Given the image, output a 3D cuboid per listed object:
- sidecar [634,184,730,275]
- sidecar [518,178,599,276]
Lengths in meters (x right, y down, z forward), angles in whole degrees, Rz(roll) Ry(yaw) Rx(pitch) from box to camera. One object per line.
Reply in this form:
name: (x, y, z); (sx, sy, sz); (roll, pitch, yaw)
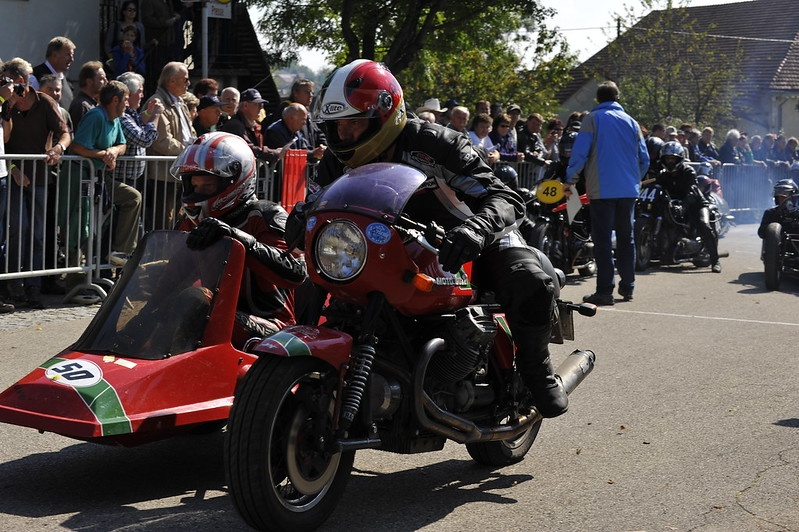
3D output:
sidecar: (4.858, -0.719, 13.812); (2.574, 1.598, 1.339); (1, 0, -37)
sidecar: (2.372, -0.539, 11.549); (1.047, 1.095, 1.717); (-6, -3, 35)
